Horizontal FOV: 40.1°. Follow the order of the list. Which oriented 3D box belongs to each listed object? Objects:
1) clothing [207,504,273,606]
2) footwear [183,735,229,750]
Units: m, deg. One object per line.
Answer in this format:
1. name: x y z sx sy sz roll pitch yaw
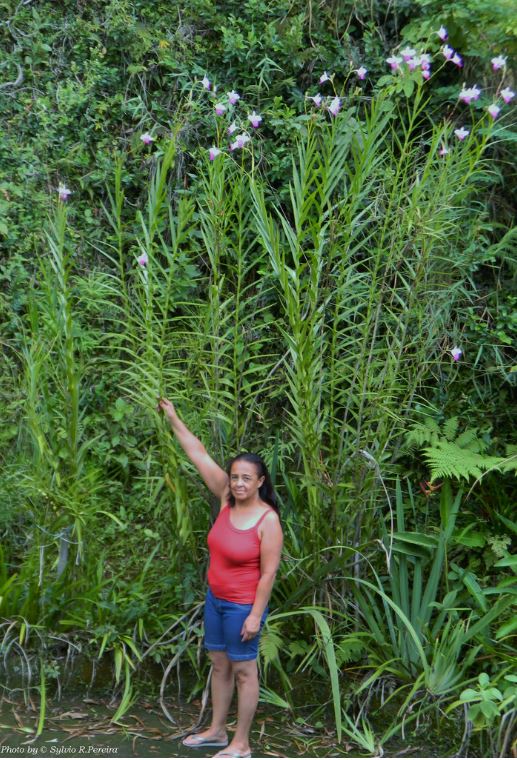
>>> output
1. clothing: -0.079 0.593 2.420 0.208 0.281 0.252 10 35 14
2. footwear: -0.179 1.264 2.467 0.119 0.028 0.063 4 -4 0
